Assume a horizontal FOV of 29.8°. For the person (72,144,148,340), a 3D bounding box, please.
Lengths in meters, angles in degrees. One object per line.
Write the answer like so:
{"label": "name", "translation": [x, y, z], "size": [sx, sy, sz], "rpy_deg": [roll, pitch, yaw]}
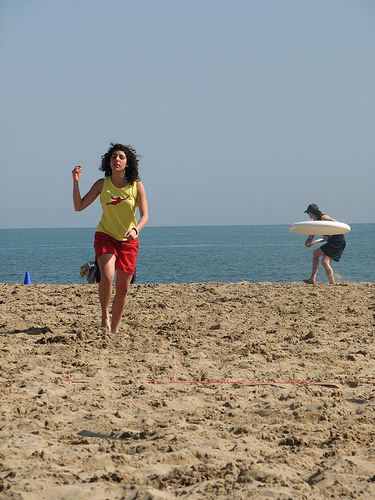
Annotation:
{"label": "person", "translation": [-0.713, -0.101, 6.518], "size": [0.697, 1.773, 0.517], "rpy_deg": [2, 2, 7]}

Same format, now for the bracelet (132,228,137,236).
{"label": "bracelet", "translation": [-0.474, -0.170, 6.253], "size": [0.020, 0.064, 0.065], "rpy_deg": [-6, -26, -16]}
